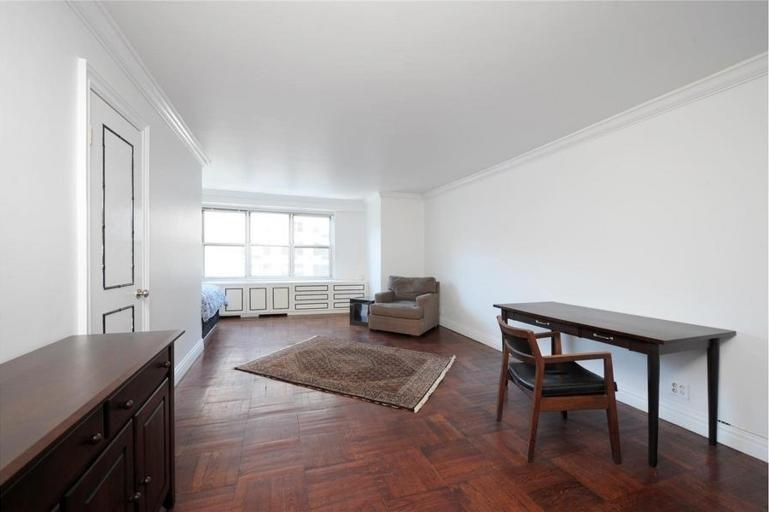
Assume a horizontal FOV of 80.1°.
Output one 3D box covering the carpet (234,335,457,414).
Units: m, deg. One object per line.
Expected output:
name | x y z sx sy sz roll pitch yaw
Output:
carpet | -0.344 1.261 5.212 2.183 0.130 1.644 2 4 25

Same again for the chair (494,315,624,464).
chair | 1.461 0.970 4.086 1.041 1.309 1.185 -2 -2 -5

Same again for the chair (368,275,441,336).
chair | 0.329 0.754 7.070 0.917 0.938 0.934 -4 -11 32
